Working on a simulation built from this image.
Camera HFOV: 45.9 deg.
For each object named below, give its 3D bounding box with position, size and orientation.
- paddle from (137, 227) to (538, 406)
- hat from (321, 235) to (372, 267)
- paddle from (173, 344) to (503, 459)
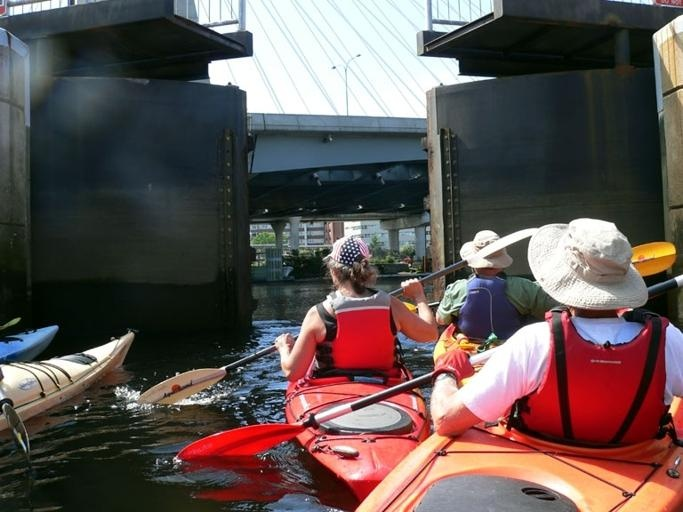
[{"bbox_3d":[-0.303,0.749,10.373,5.444,0.293,0.609,-26,-9,9],"label":"paddle"},{"bbox_3d":[0.046,-0.053,7.572,0.340,0.208,0.260,0,3,31],"label":"hat"},{"bbox_3d":[-0.052,1.370,7.469,3.193,0.384,0.190,-19,-6,0],"label":"paddle"}]
